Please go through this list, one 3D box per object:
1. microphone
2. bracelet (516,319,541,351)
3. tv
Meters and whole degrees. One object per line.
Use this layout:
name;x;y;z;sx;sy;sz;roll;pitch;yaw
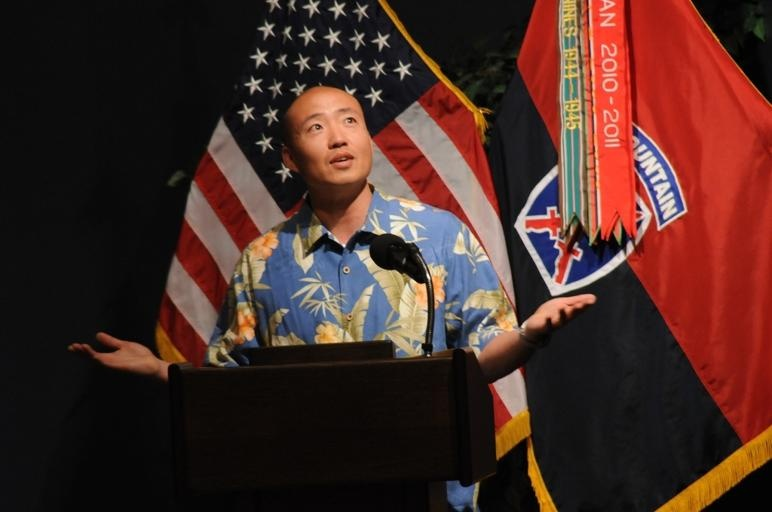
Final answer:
microphone;0.058;0.135;4.118;0.217;0.443;0.223;-2;-4;-2
bracelet;0.511;0.292;4.255;0.073;0.106;0.115;0;26;-1
tv;-0.244;0.340;4.059;0.546;0.064;0.141;-3;-4;1
